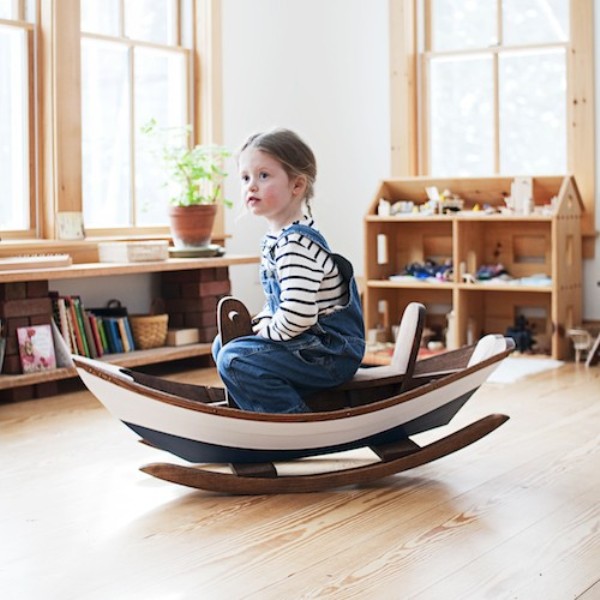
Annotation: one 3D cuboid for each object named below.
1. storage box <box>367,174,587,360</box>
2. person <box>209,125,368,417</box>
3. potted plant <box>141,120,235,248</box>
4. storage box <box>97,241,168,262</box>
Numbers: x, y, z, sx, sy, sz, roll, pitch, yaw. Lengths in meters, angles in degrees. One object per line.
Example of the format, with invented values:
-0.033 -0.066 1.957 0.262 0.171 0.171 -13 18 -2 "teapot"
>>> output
0.896 -0.172 3.049 1.195 0.795 0.430 0 3 20 "storage box"
-0.015 -0.083 1.480 0.387 0.664 0.277 -2 4 -10 "person"
-0.510 -0.514 3.054 0.363 0.520 0.379 5 1 36 "potted plant"
-0.735 -0.212 2.757 0.297 0.102 0.183 -2 3 -15 "storage box"
